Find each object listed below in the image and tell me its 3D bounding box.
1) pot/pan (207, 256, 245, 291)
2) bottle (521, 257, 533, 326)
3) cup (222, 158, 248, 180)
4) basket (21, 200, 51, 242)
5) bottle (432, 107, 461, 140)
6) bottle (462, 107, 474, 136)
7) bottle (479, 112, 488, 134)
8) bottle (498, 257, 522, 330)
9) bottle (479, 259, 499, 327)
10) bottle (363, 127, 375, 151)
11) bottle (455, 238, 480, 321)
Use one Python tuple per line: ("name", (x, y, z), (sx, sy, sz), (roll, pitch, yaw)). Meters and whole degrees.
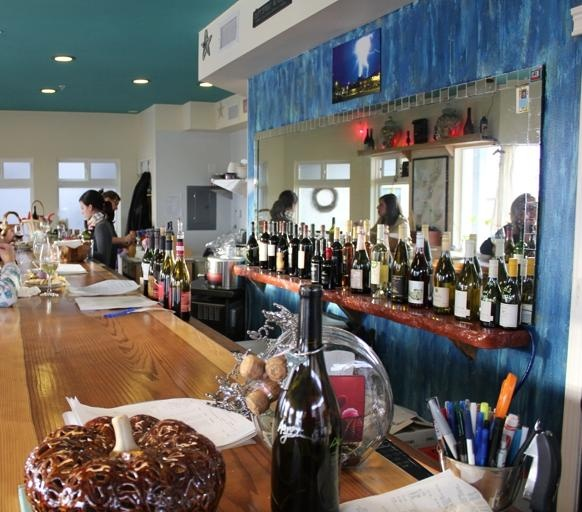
("pot/pan", (-0.573, 0.142, 3.924), (0.258, 0.276, 0.299), (4, 3, 14))
("bottle", (0.975, 0.153, 1.935), (0.048, 0.281, 0.037), (4, 5, 37))
("cup", (-0.521, -0.821, 4.491), (0.250, 0.181, 0.257), (1, 4, 0))
("basket", (-3.018, -0.442, 5.557), (0.325, 0.453, 0.331), (2, 5, 11))
("bottle", (0.771, -0.651, 2.345), (0.101, 0.234, 0.126), (-1, 6, -2))
("bottle", (0.840, -0.642, 2.224), (0.012, 0.128, 0.063), (-1, 5, -21))
("bottle", (0.879, -0.603, 2.148), (0.011, 0.085, 0.052), (-1, 5, -18))
("bottle", (0.885, 0.152, 1.898), (0.080, 0.294, 0.226), (3, 5, 26))
("bottle", (0.823, 0.148, 1.938), (0.078, 0.286, 0.350), (2, 5, 23))
("bottle", (0.482, -0.726, 2.905), (0.028, 0.129, 0.106), (-1, 5, -19))
("bottle", (0.794, 0.119, 2.080), (0.084, 0.332, 0.222), (4, 5, 38))
